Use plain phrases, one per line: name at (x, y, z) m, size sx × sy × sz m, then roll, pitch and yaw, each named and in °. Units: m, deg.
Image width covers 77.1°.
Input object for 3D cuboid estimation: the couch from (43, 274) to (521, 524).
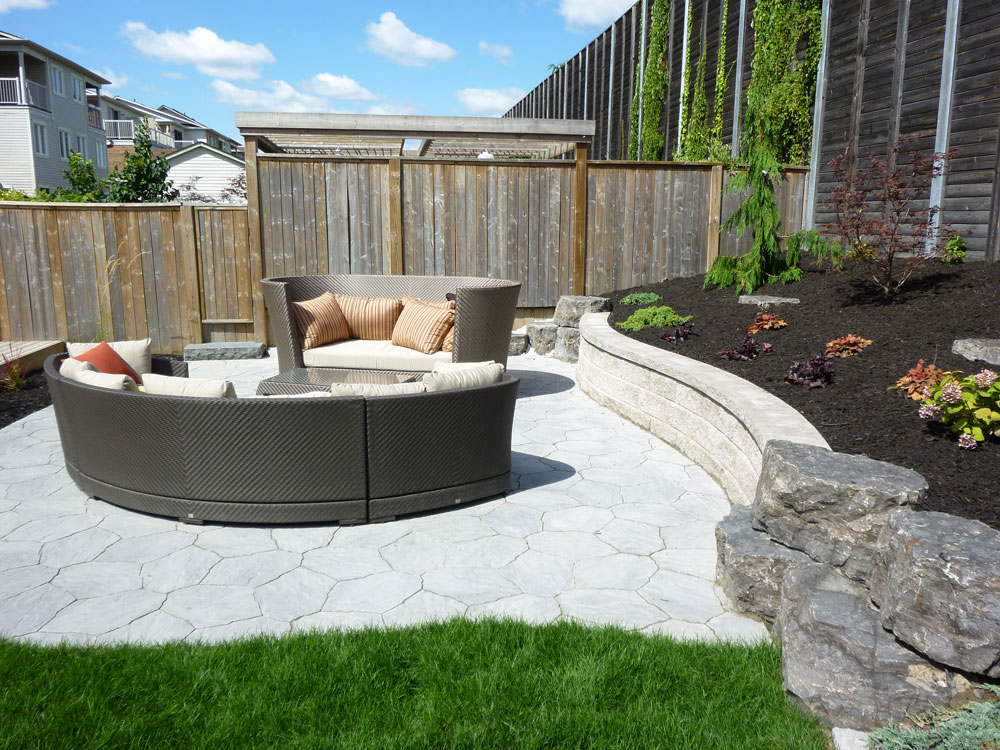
couch at (-1.745, 0.129, 5.353) m, size 2.281 × 0.835 × 2.193 m, roll -7°, pitch 13°, yaw -39°
